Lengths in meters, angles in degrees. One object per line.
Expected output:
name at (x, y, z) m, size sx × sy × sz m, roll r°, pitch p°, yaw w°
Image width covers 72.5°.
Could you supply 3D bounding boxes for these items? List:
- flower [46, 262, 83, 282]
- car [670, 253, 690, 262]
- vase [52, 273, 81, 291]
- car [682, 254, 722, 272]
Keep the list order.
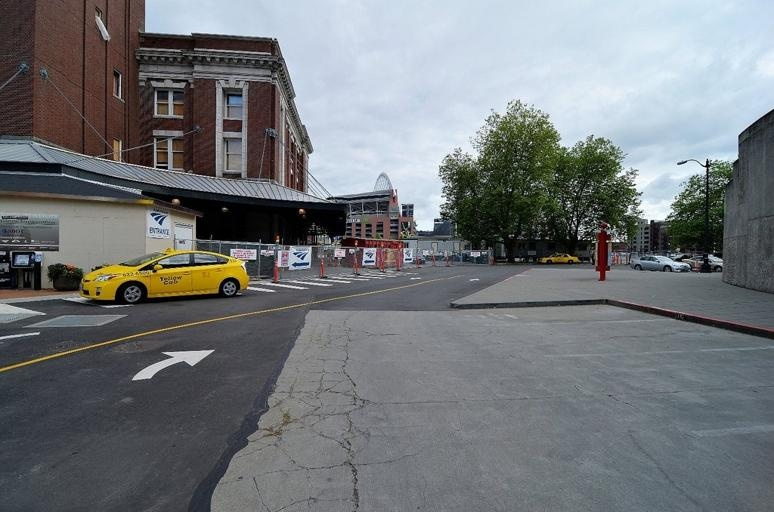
flower at (-11.935, 0.579, 19.454) m, size 0.698 × 0.571 × 0.845 m, roll 8°, pitch -11°, yaw -31°
car at (34.655, 0.102, 62.344) m, size 2.426 × 1.008 × 1.163 m, roll -7°, pitch 9°, yaw -4°
vase at (-11.887, 0.975, 19.477) m, size 0.775 × 0.537 × 0.853 m, roll 2°, pitch -7°, yaw -9°
car at (24.671, 0.543, 41.180) m, size 3.075 × 1.090 × 1.460 m, roll -3°, pitch 1°, yaw 13°
